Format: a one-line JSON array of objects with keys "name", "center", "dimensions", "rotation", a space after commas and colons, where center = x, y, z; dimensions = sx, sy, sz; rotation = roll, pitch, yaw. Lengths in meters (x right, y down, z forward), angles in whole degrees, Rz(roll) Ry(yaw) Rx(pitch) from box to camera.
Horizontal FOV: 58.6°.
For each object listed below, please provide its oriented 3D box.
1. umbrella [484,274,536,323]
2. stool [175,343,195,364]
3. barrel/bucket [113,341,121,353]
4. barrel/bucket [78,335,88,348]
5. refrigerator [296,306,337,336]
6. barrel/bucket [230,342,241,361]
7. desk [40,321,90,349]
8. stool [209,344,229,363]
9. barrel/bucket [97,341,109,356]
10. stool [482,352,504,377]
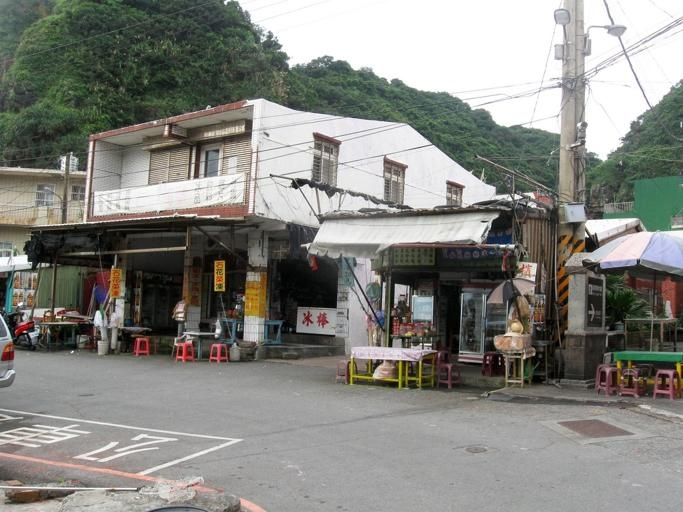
[{"name": "umbrella", "center": [4.037, 1.029, 14.164], "dimensions": [1.073, 0.726, 1.086], "rotation": [-20, 16, 15]}, {"name": "stool", "center": [-4.917, 3.002, 19.281], "dimensions": [0.630, 0.616, 0.634], "rotation": [-1, 1, -30]}, {"name": "barrel/bucket", "center": [-7.639, 3.082, 20.901], "dimensions": [0.182, 0.406, 0.327], "rotation": [0, -8, 11]}, {"name": "barrel/bucket", "center": [-9.418, 3.111, 22.246], "dimensions": [0.433, 0.441, 0.421], "rotation": [1, -5, 0]}, {"name": "refrigerator", "center": [-0.851, 2.374, 22.479], "dimensions": [1.715, 1.034, 0.435], "rotation": [-6, -11, 40]}, {"name": "barrel/bucket", "center": [-3.328, 3.006, 19.299], "dimensions": [0.301, 0.563, 0.242], "rotation": [4, -9, -22]}, {"name": "desk", "center": [-10.502, 2.950, 23.188], "dimensions": [1.431, 0.837, 1.395], "rotation": [1, -1, -31]}, {"name": "stool", "center": [-3.846, 3.056, 19.354], "dimensions": [0.633, 0.607, 0.615], "rotation": [-1, -1, -16]}, {"name": "barrel/bucket", "center": [-7.945, 3.030, 20.340], "dimensions": [0.425, 0.456, 0.430], "rotation": [1, 1, 0]}, {"name": "stool", "center": [3.821, 2.749, 15.644], "dimensions": [0.603, 0.608, 0.593], "rotation": [5, -9, -43]}]
